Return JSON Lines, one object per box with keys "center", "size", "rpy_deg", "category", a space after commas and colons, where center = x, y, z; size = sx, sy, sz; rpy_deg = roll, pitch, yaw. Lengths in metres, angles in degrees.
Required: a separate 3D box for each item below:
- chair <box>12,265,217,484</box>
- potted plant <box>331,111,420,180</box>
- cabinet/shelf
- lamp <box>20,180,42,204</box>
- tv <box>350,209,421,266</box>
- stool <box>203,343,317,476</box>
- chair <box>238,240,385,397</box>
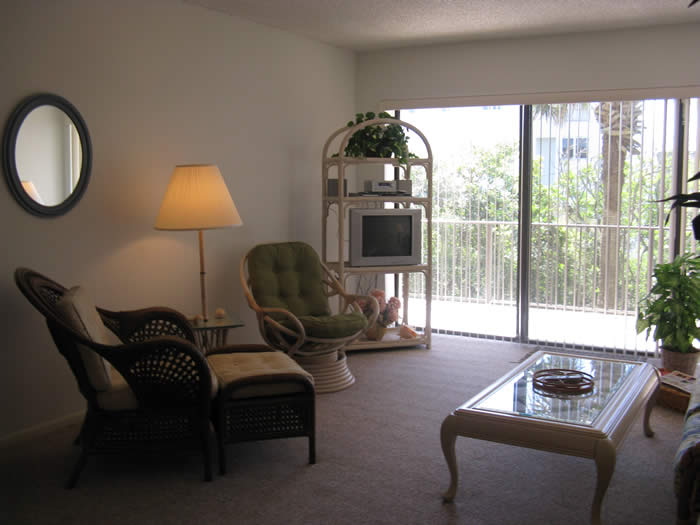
{"center": [-1.316, 0.663, 3.355], "size": [1.129, 1.041, 0.816], "rpy_deg": [4, -5, -23], "category": "chair"}
{"center": [0.294, -1.164, 5.457], "size": [0.683, 0.586, 0.553], "rpy_deg": [0, 10, -1], "category": "potted plant"}
{"center": [0.294, -0.284, 5.683], "size": [0.969, 2.253, 0.702], "rpy_deg": [-2, 5, -4], "category": "cabinet/shelf"}
{"center": [-1.976, -0.441, 3.493], "size": [0.104, 0.147, 0.037], "rpy_deg": [-8, 13, -37], "category": "lamp"}
{"center": [0.413, -0.236, 5.480], "size": [0.722, 0.550, 0.391], "rpy_deg": [0, 3, 20], "category": "tv"}
{"center": [-0.534, 0.795, 3.500], "size": [0.572, 0.529, 0.897], "rpy_deg": [-2, 7, -14], "category": "stool"}
{"center": [-0.355, 0.404, 4.543], "size": [0.851, 1.063, 0.998], "rpy_deg": [-3, 8, -28], "category": "chair"}
